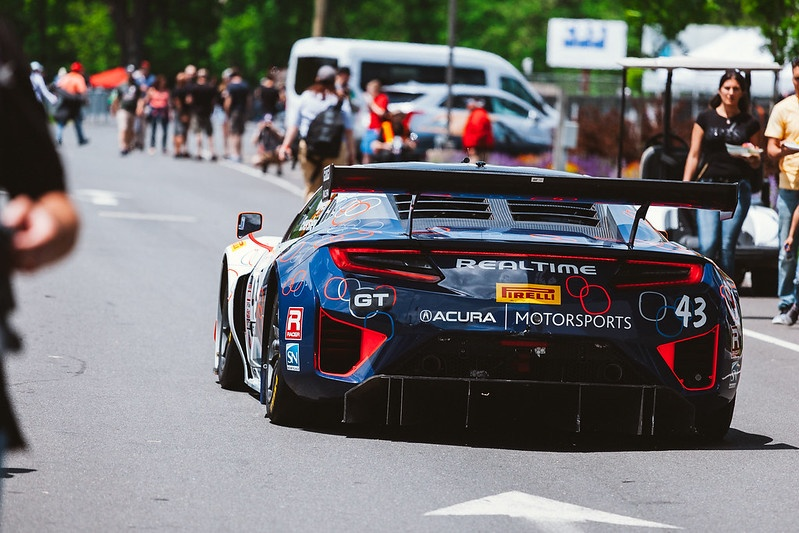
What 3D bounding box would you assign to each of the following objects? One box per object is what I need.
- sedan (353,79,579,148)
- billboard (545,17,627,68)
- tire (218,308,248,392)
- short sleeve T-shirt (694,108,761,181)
[{"bbox_3d":[1.984,-4.071,34.622,4.186,1.443,2.268,-2,8,-17],"label":"sedan"},{"bbox_3d":[8.312,-9.995,57.666,3.278,2.187,3.290,2,7,3],"label":"billboard"},{"bbox_3d":[-1.099,0.560,8.491,0.145,0.445,0.437,-6,-13,-10],"label":"tire"},{"bbox_3d":[3.100,-1.144,12.172,0.594,0.596,0.322,6,-14,-1],"label":"short sleeve T-shirt"}]
